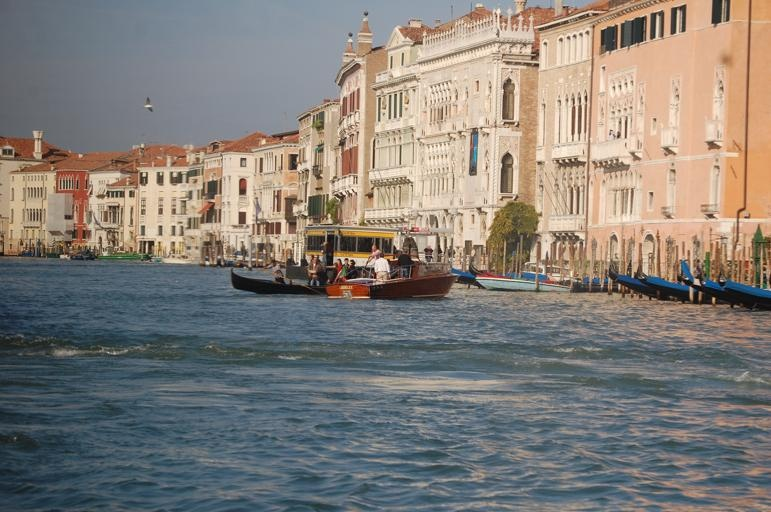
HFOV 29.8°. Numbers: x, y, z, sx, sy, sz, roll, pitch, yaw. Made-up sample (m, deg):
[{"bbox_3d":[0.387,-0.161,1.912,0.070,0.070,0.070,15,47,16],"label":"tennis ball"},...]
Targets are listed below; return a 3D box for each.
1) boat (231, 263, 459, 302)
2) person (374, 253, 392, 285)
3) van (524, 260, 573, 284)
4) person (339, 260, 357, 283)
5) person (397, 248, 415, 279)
[{"bbox_3d":[-3.157,1.329,65.298,10.742,1.470,3.200,1,-2,34],"label":"boat"},{"bbox_3d":[-0.051,0.484,62.938,0.692,1.337,1.792,4,-2,-2],"label":"person"},{"bbox_3d":[9.278,0.934,80.014,1.181,0.811,3.450,0,-5,-3],"label":"van"},{"bbox_3d":[-1.644,0.739,67.130,1.097,1.302,0.567,5,-13,-3],"label":"person"},{"bbox_3d":[0.959,0.386,63.803,0.652,1.178,1.649,4,-2,0],"label":"person"}]
